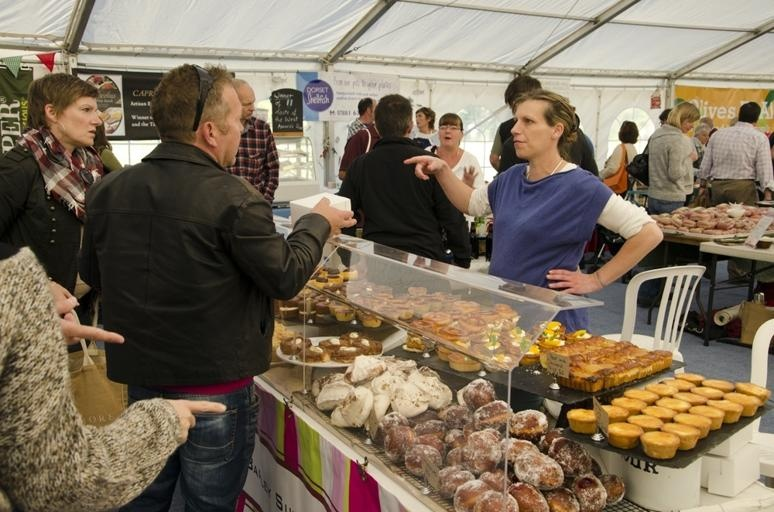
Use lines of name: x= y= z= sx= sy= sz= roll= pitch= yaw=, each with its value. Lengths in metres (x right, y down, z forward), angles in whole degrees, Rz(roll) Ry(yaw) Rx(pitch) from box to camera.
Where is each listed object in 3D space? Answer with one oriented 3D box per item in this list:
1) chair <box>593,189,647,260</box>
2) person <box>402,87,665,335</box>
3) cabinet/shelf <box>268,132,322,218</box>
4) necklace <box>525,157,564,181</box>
chair: x=1.191 y=-0.167 z=2.946 sx=0.121 sy=0.168 sz=0.141 roll=-42 pitch=21 yaw=-16
person: x=0.761 y=0.119 z=3.173 sx=1.260 sy=1.880 sz=0.641 roll=9 pitch=9 yaw=24
cabinet/shelf: x=-1.430 y=-1.407 z=9.600 sx=1.326 sy=1.285 sz=1.311 roll=-5 pitch=14 yaw=-19
necklace: x=0.843 y=-0.466 z=3.032 sx=0.141 sy=0.050 sz=0.108 roll=-24 pitch=12 yaw=-26
